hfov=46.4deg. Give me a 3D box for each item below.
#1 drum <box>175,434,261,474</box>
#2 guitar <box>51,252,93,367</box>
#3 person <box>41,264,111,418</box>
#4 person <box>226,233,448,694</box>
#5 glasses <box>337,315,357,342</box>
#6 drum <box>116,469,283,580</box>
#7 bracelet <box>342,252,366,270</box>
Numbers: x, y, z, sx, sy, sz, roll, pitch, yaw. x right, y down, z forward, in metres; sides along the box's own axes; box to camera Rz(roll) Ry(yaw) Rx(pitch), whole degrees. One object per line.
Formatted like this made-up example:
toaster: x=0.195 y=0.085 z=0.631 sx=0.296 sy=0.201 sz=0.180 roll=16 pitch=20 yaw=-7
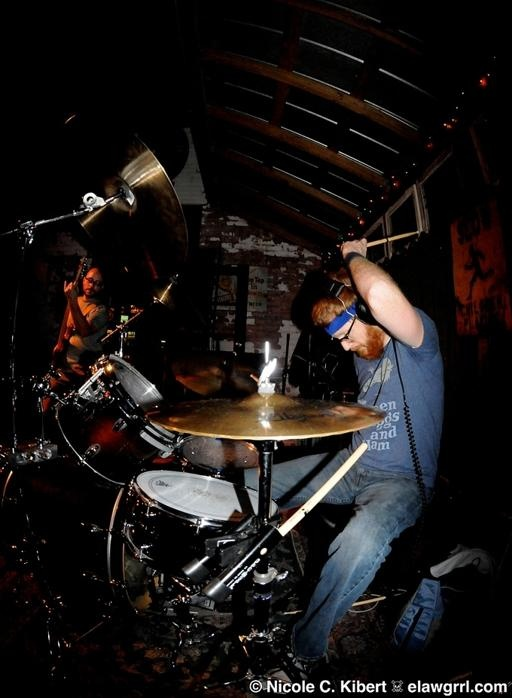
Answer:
drum: x=-0.213 y=0.595 z=3.331 sx=0.332 sy=0.252 sz=0.120 roll=21 pitch=75 yaw=-20
guitar: x=-1.365 y=-0.363 z=4.436 sx=0.129 sy=1.054 sz=0.401 roll=-12 pitch=59 yaw=-33
person: x=-1.504 y=-0.062 z=4.649 sx=0.685 sy=0.280 sz=1.071 roll=27 pitch=95 yaw=40
person: x=0.399 y=0.512 z=3.096 sx=1.283 sy=1.150 sz=1.934 roll=3 pitch=94 yaw=-13
glasses: x=0.473 y=-0.109 z=3.094 sx=0.033 sy=0.103 sz=0.102 roll=24 pitch=76 yaw=1
drum: x=-0.297 y=0.912 z=3.053 sx=0.764 sy=0.725 sz=0.279 roll=0 pitch=56 yaw=-8
bracelet: x=0.483 y=-0.430 z=2.938 sx=0.123 sy=0.039 sz=0.090 roll=-13 pitch=24 yaw=-36
